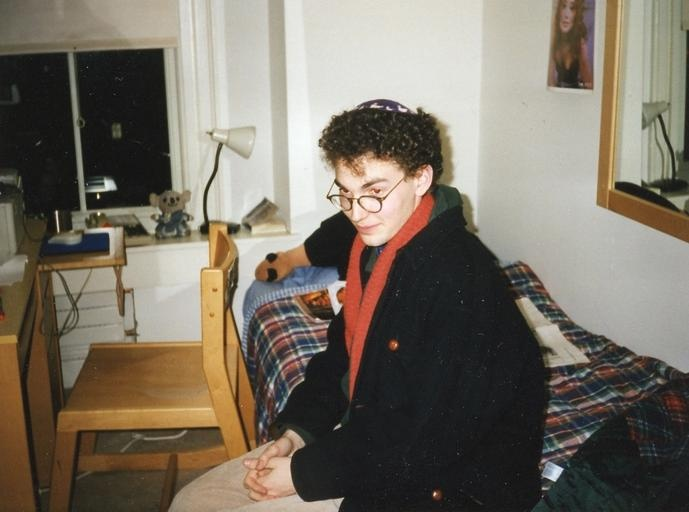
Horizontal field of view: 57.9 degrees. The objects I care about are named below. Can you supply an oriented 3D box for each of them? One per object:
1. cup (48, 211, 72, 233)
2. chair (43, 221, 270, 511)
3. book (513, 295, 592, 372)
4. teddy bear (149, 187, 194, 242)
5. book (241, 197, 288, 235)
[{"bbox_3d":[-1.321,-0.157,2.906,0.083,0.111,0.091,2,13,0],"label":"cup"},{"bbox_3d":[-0.614,0.300,2.714,0.932,1.438,0.853,6,23,-11],"label":"chair"},{"bbox_3d":[0.797,0.291,2.405,0.182,0.061,0.511,-3,26,-3],"label":"book"},{"bbox_3d":[-0.898,-0.206,3.261,0.199,0.277,0.136,-5,-7,-15],"label":"teddy bear"},{"bbox_3d":[-0.423,-0.192,3.305,0.191,0.133,0.203,-16,43,-21],"label":"book"}]
